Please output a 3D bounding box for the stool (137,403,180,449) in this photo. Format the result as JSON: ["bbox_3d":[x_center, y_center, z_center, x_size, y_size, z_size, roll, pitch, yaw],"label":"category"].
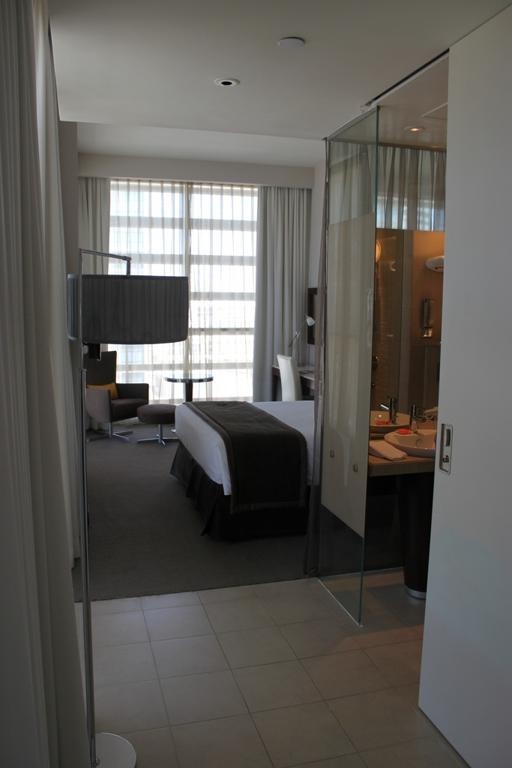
[{"bbox_3d":[-1.026,0.425,6.028,0.360,0.479,0.454,1,11,-4],"label":"stool"}]

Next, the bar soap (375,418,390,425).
[{"bbox_3d":[0.672,0.207,3.101,0.091,0.042,0.024,-1,5,-27],"label":"bar soap"}]

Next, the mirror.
[{"bbox_3d":[0.709,-0.323,3.057,0.286,0.978,0.105,-3,6,-40],"label":"mirror"}]

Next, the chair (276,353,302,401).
[{"bbox_3d":[0.351,-0.036,6.088,0.256,0.498,0.635,1,5,4],"label":"chair"}]

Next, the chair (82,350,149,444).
[{"bbox_3d":[-1.428,0.151,5.847,0.567,1.166,0.690,4,8,22],"label":"chair"}]
